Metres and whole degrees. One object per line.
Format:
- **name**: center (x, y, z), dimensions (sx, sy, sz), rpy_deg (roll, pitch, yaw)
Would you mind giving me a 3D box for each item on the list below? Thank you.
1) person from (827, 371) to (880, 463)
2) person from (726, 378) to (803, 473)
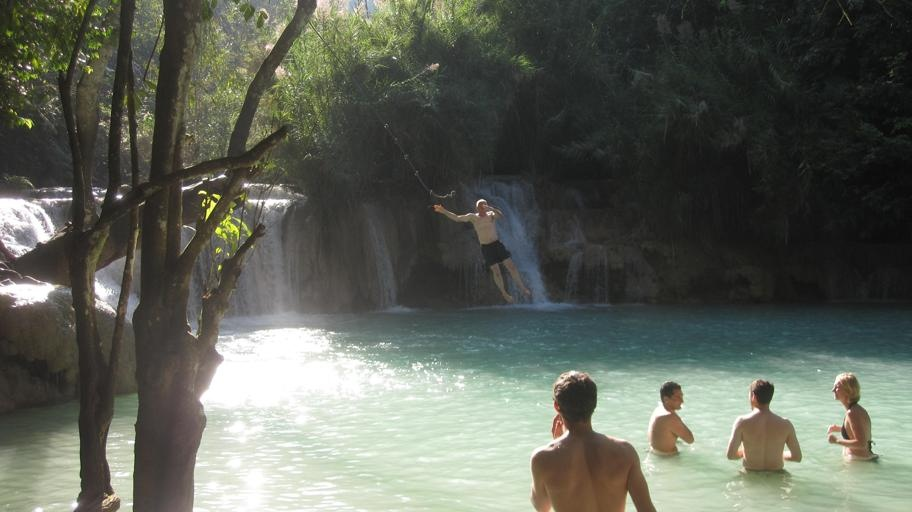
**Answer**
- **person**: center (6.648, 2.664, 12.042), dimensions (0.901, 1.494, 0.427), rpy_deg (-3, 11, -14)
- **person**: center (5.090, 3.251, 11.930), dimensions (1.168, 2.268, 0.787), rpy_deg (0, 6, 17)
